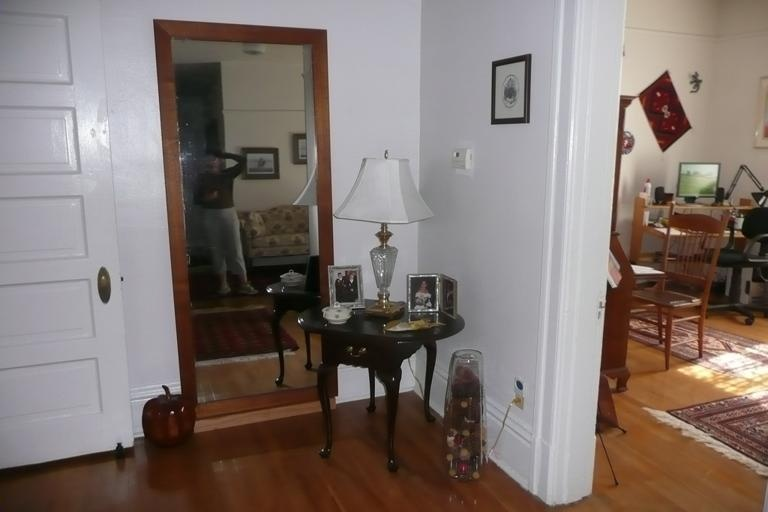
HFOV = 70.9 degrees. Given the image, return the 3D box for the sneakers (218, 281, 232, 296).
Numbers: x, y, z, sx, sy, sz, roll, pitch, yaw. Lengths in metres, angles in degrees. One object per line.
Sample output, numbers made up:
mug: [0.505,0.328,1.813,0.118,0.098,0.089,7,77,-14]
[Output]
sneakers: [-1.148,0.228,3.898,0.059,0.078,0.114,-1,28,-9]

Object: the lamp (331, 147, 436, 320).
lamp: [0.000,-0.155,3.645,0.641,1.080,0.337,-1,11,3]

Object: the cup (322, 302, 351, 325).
cup: [-0.312,0.381,3.612,0.130,0.091,0.134,4,8,-1]

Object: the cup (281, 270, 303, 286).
cup: [-0.681,0.162,4.025,0.110,0.079,0.130,3,14,7]

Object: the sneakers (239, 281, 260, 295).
sneakers: [-0.986,0.238,3.934,0.123,0.084,0.060,2,11,-10]

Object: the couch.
couch: [-0.747,-0.174,4.051,0.573,0.409,0.308,-2,12,-4]

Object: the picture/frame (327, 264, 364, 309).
picture/frame: [-0.264,0.214,3.758,0.299,0.368,0.026,-1,9,-10]

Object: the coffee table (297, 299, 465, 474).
coffee table: [-0.041,0.945,3.832,1.086,0.833,1.047,1,-2,-6]

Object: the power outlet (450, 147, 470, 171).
power outlet: [0.533,-0.681,3.720,0.066,0.162,0.171,-3,7,-23]

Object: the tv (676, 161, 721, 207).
tv: [4.110,-0.963,7.059,0.593,0.607,0.195,1,10,4]

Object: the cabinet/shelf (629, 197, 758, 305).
cabinet/shelf: [3.433,-0.062,5.928,1.281,1.311,0.719,0,4,-7]

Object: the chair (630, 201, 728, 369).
chair: [2.643,0.282,5.039,0.813,1.376,0.799,9,14,42]

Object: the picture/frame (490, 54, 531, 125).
picture/frame: [0.787,-1.031,3.344,0.068,0.407,0.332,-7,12,-27]

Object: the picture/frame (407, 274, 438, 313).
picture/frame: [0.259,0.254,3.714,0.246,0.290,0.033,-2,0,-5]

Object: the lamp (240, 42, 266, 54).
lamp: [-0.911,-1.466,3.788,0.157,0.078,0.032,-2,11,-6]

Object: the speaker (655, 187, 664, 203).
speaker: [3.548,-0.800,6.953,0.111,0.194,0.193,2,0,6]

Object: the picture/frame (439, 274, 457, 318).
picture/frame: [0.462,0.284,3.703,0.028,0.260,0.192,-2,5,23]
